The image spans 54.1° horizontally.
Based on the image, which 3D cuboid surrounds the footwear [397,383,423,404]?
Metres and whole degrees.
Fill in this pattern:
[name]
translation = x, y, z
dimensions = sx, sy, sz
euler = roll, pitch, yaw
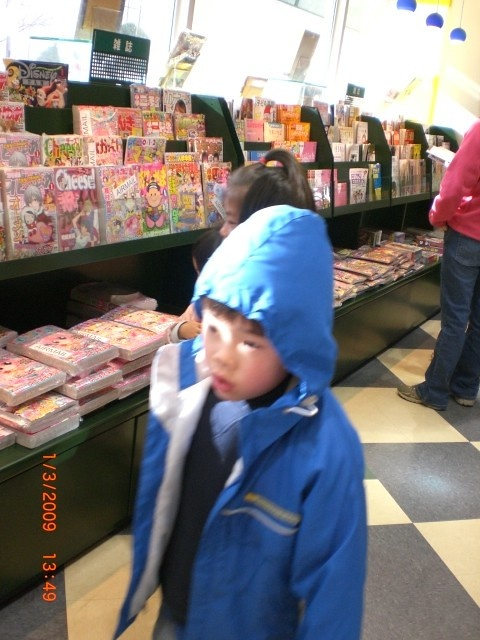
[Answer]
[footwear]
translation = 0.982, 0.429, 2.712
dimensions = 0.163, 0.074, 0.061
euler = 35, 20, 24
